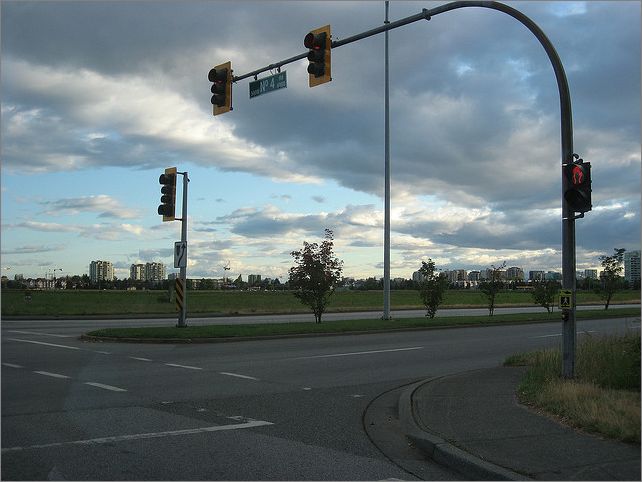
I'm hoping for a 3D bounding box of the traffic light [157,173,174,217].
[{"bbox_3d":[-5.963,-1.770,23.571,0.622,1.839,0.577,-2,-4,-6],"label":"traffic light"}]

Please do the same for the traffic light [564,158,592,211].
[{"bbox_3d":[5.140,-1.105,12.387,0.486,1.032,0.348,-1,-1,25],"label":"traffic light"}]

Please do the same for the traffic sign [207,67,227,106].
[{"bbox_3d":[-2.793,-4.105,16.408,0.548,1.052,0.336,-1,-2,32],"label":"traffic sign"}]
